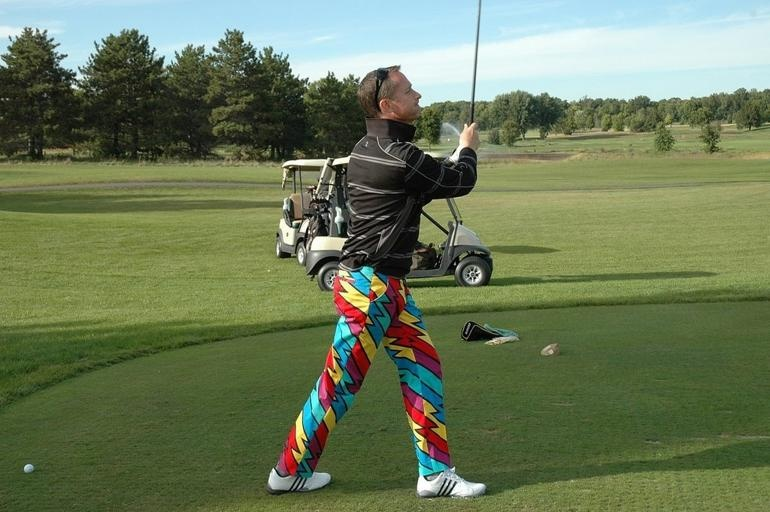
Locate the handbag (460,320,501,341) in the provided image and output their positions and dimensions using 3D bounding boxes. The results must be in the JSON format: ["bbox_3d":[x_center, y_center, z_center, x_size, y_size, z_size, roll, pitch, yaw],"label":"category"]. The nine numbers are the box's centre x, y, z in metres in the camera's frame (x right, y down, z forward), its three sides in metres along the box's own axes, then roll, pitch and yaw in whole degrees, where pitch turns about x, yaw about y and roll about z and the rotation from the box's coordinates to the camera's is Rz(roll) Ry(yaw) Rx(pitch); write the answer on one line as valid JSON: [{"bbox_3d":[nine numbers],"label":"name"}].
[{"bbox_3d":[1.018,0.804,6.871,0.354,0.113,0.205,-6,-2,-6],"label":"handbag"}]

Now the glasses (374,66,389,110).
[{"bbox_3d":[-0.020,-1.033,3.973,0.104,0.252,0.071,-3,10,0],"label":"glasses"}]

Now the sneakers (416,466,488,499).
[{"bbox_3d":[0.384,1.405,3.995,0.479,0.171,0.159,-1,-1,-3],"label":"sneakers"}]

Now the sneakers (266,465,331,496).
[{"bbox_3d":[-0.548,1.420,4.079,0.419,0.145,0.146,-2,5,-16],"label":"sneakers"}]

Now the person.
[{"bbox_3d":[-0.043,0.136,4.073,1.295,2.614,0.784,-2,10,7],"label":"person"}]
